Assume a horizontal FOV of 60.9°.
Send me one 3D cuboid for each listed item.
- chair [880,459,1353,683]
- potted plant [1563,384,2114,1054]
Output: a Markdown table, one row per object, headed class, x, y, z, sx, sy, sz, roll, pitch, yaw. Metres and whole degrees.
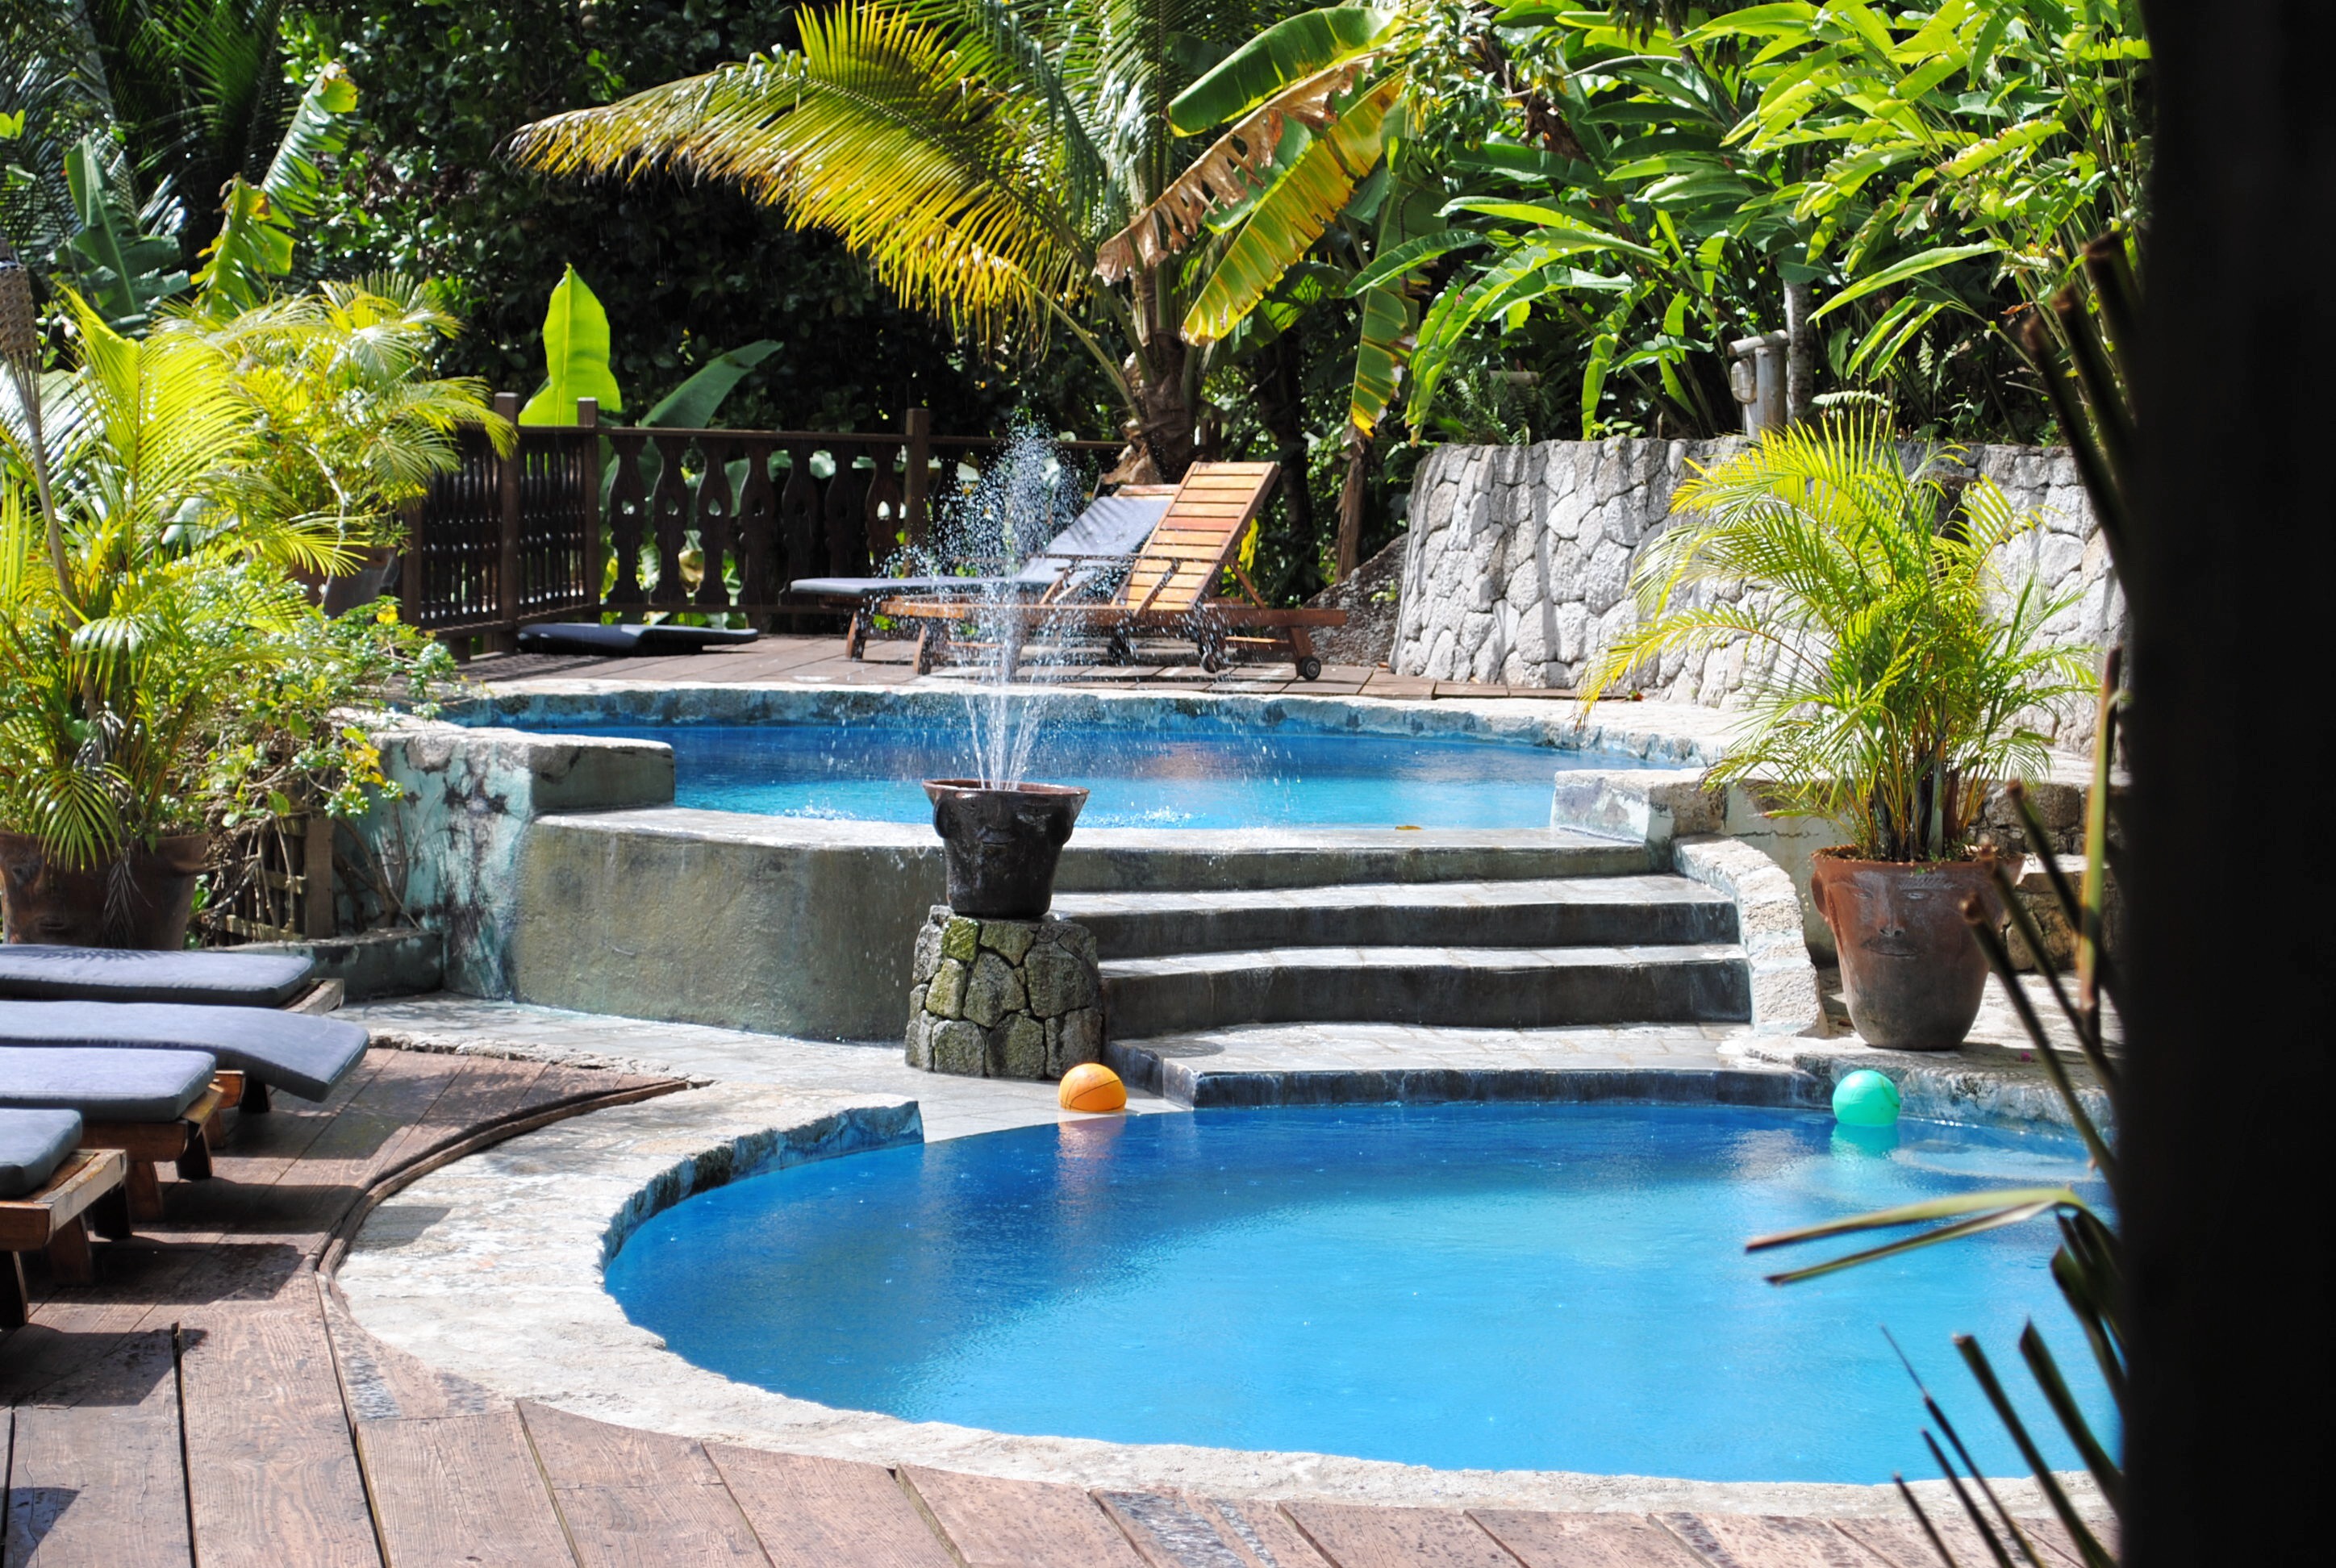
| class | x | y | z | sx | sy | sz | roll | pitch | yaw |
| --- | --- | --- | --- | --- | --- | --- | --- | --- | --- |
| chair | -0.266 | -1.536 | 13.902 | 2.751 | 1.532 | 2.023 | 1 | 4 | -4 |
| potted plant | 2.708 | -0.443 | 7.999 | 1.428 | 2.460 | 3.595 | 2 | 4 | 21 |
